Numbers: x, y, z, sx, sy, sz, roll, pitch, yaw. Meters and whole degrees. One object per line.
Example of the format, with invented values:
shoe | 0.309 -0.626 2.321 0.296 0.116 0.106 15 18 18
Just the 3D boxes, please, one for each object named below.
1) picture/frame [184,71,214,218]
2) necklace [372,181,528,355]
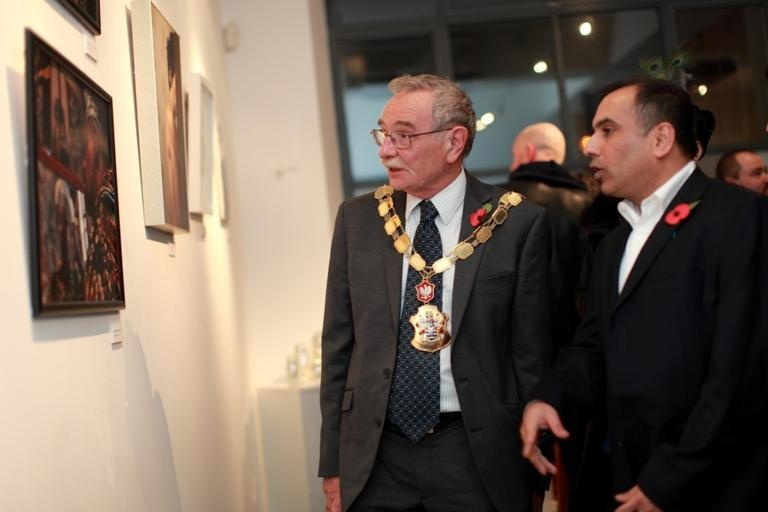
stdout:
picture/frame | -1.037 -0.633 3.685 0.126 0.812 0.708 -5 1 -9
necklace | 0.267 0.069 2.544 0.664 0.676 0.261 1 1 12
